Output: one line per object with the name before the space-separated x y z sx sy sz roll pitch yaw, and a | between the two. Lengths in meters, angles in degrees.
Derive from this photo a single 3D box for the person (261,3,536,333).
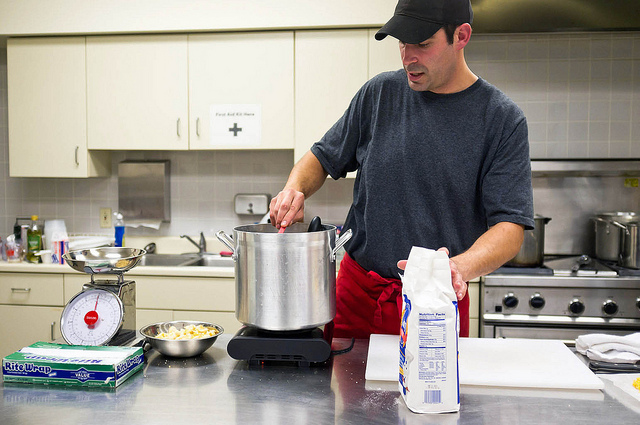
person | 0.404 -0.165 2.775 1.010 1.426 0.377 1 5 22

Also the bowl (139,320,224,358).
bowl | -0.578 0.538 2.643 0.332 0.114 0.220 -3 5 -18

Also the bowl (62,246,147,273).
bowl | -0.914 0.210 2.669 0.272 0.086 0.273 -1 5 0

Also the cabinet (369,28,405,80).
cabinet | 0.411 -1.010 3.967 0.204 0.310 0.138 0 5 7

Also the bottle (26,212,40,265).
bottle | -1.955 0.188 4.290 0.083 0.292 0.310 -3 5 -26

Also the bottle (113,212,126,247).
bottle | -1.439 0.129 4.525 0.078 0.233 0.300 -3 5 -17
